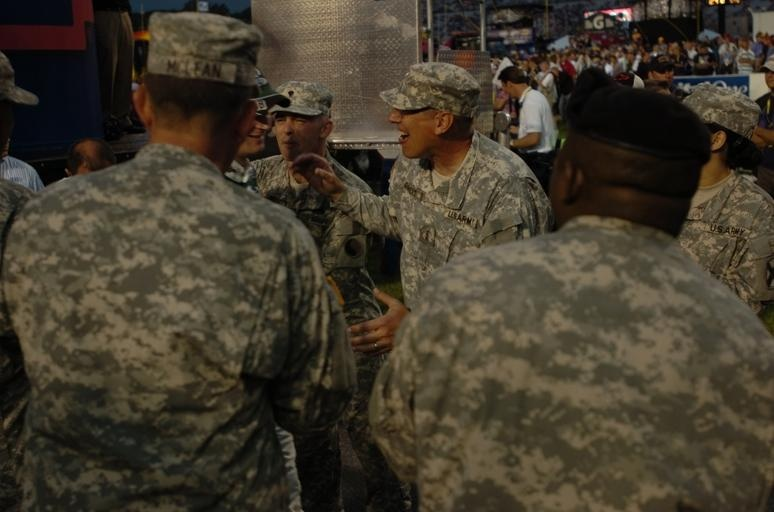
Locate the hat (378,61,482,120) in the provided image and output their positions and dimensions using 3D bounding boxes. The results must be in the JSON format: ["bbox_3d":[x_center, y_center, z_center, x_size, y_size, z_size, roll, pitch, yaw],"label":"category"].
[{"bbox_3d":[0.260,-0.921,4.762,0.449,0.205,0.322,6,15,8],"label":"hat"}]

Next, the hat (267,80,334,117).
[{"bbox_3d":[-0.556,-0.995,5.438,0.416,0.218,0.571,9,15,14],"label":"hat"}]

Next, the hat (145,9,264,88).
[{"bbox_3d":[-0.667,-0.743,3.168,0.361,0.180,0.253,2,1,-38],"label":"hat"}]

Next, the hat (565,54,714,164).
[{"bbox_3d":[0.836,-0.468,2.858,0.479,0.259,0.287,9,22,18],"label":"hat"}]
